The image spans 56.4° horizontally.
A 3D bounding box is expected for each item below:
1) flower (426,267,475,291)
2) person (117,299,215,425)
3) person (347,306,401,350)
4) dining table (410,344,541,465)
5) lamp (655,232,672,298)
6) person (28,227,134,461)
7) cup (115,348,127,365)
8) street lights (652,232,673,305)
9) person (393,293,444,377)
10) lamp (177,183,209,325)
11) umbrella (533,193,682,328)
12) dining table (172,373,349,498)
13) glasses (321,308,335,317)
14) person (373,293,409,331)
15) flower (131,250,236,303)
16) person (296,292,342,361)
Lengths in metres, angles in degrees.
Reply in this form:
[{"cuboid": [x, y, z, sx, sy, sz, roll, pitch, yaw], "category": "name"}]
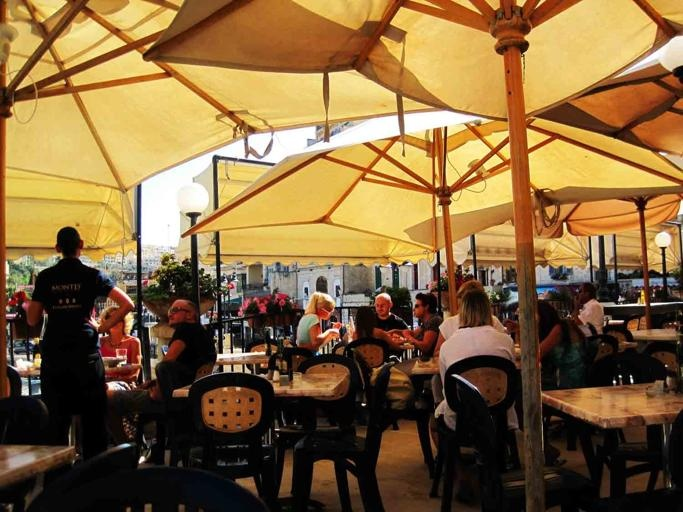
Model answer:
[{"cuboid": [1.919, 0.462, 11.642, 0.924, 0.621, 0.946, -3, -4, 15], "category": "flower"}, {"cuboid": [-1.843, 1.107, 6.522, 1.191, 1.309, 0.848, -3, -17, -15], "category": "person"}, {"cuboid": [0.456, 0.987, 8.659, 0.587, 0.851, 0.298, -2, 14, 13], "category": "person"}, {"cuboid": [1.092, 1.129, 5.705, 1.025, 1.500, 1.120, -1, 2, 2], "category": "dining table"}, {"cuboid": [7.920, 0.222, 15.657, 0.364, 1.517, 0.378, -1, -7, 19], "category": "lamp"}, {"cuboid": [-2.213, 0.721, 5.389, 0.796, 1.988, 0.523, 1, -5, -27], "category": "person"}, {"cuboid": [-2.796, 1.278, 8.093, 0.112, 0.178, 0.115, -1, -4, 0], "category": "cup"}, {"cuboid": [7.957, 0.267, 15.713, 0.399, 1.631, 0.410, -3, -7, 30], "category": "street lights"}, {"cuboid": [1.084, 1.158, 8.577, 0.652, 1.297, 0.717, 5, -6, -22], "category": "person"}, {"cuboid": [-2.110, -0.042, 9.365, 0.428, 1.973, 0.418, -2, 13, -19], "category": "lamp"}, {"cuboid": [6.323, 0.115, 14.628, 3.100, 2.615, 2.685, 4, -11, -26], "category": "umbrella"}, {"cuboid": [-0.888, 1.544, 5.411, 0.897, 1.288, 0.967, -2, -1, 14], "category": "dining table"}, {"cuboid": [-0.190, 0.762, 8.349, 0.133, 0.064, 0.136, 12, 13, 20], "category": "glasses"}, {"cuboid": [0.708, 0.906, 9.897, 0.798, 0.633, 0.474, -3, -11, 13], "category": "person"}, {"cuboid": [-2.401, 0.361, 9.590, 0.866, 0.605, 0.812, 2, -6, -3], "category": "flower"}, {"cuboid": [-0.283, 1.040, 8.274, 0.591, 1.065, 0.566, 5, -2, 15], "category": "person"}]
